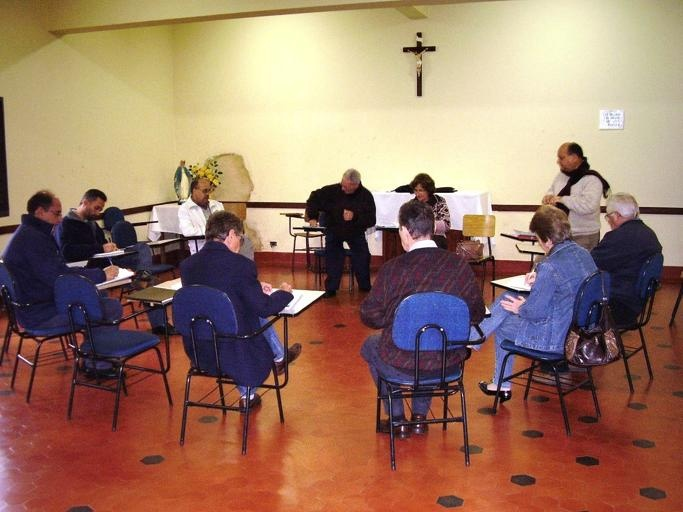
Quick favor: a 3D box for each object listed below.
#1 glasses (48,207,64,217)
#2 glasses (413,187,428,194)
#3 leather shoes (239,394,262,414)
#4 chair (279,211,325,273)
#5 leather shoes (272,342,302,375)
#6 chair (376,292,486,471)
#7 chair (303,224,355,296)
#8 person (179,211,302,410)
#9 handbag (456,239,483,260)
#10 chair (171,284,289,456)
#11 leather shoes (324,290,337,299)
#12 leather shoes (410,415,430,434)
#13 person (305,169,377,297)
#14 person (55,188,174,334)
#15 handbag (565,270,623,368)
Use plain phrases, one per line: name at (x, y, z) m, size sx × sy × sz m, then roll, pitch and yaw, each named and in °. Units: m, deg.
glasses at (-2.355, -0.362, 4.760) m, size 0.104 × 0.067 × 0.105 m, roll 4°, pitch 3°, yaw 23°
glasses at (0.902, -0.746, 6.711) m, size 0.092 × 0.149 × 0.118 m, roll -18°, pitch 13°, yaw -35°
leather shoes at (-0.677, 1.079, 4.230) m, size 0.100 × 0.126 × 0.284 m, roll 1°, pitch 4°, yaw 14°
chair at (-0.578, -0.215, 8.647) m, size 0.835 × 0.913 × 0.564 m, roll -3°, pitch 5°, yaw -39°
leather shoes at (-0.378, 0.721, 4.252) m, size 0.089 × 0.132 × 0.304 m, roll 21°, pitch 53°, yaw 17°
chair at (0.543, 0.709, 3.780) m, size 0.626 × 1.142 × 0.603 m, roll 0°, pitch 14°, yaw 3°
chair at (-0.075, 0.037, 7.700) m, size 0.757 × 1.117 × 0.769 m, roll 3°, pitch 4°, yaw 11°
person at (-0.695, 0.427, 4.114) m, size 0.653 × 1.473 × 0.792 m, roll 9°, pitch 15°, yaw 30°
handbag at (1.446, -0.075, 6.797) m, size 0.376 × 0.295 × 0.363 m, roll 2°, pitch 1°, yaw 2°
chair at (-0.818, 0.660, 4.016) m, size 0.704 × 1.137 × 0.692 m, roll 0°, pitch 14°, yaw 2°
leather shoes at (-0.142, 0.474, 7.223) m, size 0.082 × 0.105 × 0.230 m, roll 1°, pitch -3°, yaw 40°
leather shoes at (0.523, 1.144, 3.883) m, size 0.093 × 0.100 × 0.223 m, roll 1°, pitch 7°, yaw 5°
person at (-0.021, -0.311, 7.427) m, size 0.815 × 1.618 × 0.709 m, roll 1°, pitch 15°, yaw 0°
person at (-2.286, 0.062, 5.835) m, size 0.994 × 1.586 × 0.681 m, roll -12°, pitch -5°, yaw 12°
handbag at (1.733, 0.423, 3.907) m, size 0.279 × 0.611 × 0.505 m, roll 12°, pitch 19°, yaw 43°
